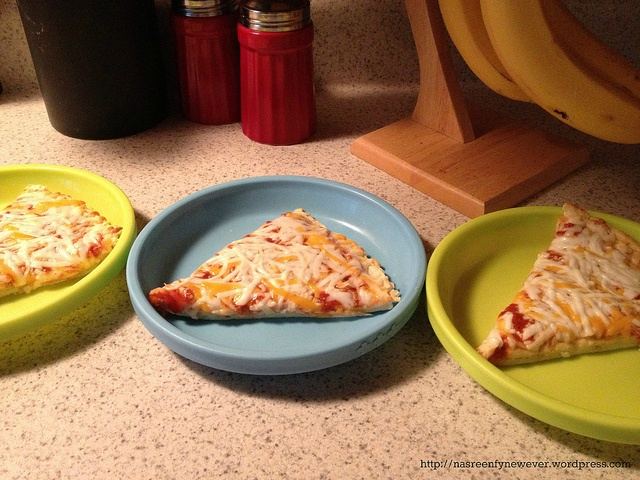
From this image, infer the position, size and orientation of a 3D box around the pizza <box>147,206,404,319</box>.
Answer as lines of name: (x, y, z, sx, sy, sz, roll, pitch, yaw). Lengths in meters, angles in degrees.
pizza: (-0.063, 0.025, 0.749, 0.334, 0.048, 0.204, -1, 42, -3)
